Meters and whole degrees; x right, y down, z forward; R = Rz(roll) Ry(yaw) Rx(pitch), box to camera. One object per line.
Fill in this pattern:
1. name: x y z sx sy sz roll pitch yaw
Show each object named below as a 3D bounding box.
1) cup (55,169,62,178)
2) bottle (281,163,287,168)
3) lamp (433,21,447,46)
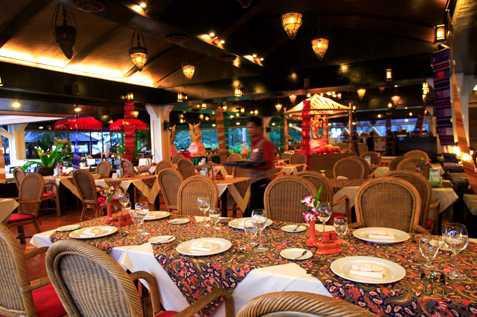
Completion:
1. cup: -4.121 0.341 7.432 0.213 0.185 0.144 -2 -3 28
2. bottle: 1.210 0.169 8.607 0.088 0.061 0.336 -14 -2 19
3. lamp: 3.273 -2.012 5.252 0.157 0.373 0.614 2 9 29
